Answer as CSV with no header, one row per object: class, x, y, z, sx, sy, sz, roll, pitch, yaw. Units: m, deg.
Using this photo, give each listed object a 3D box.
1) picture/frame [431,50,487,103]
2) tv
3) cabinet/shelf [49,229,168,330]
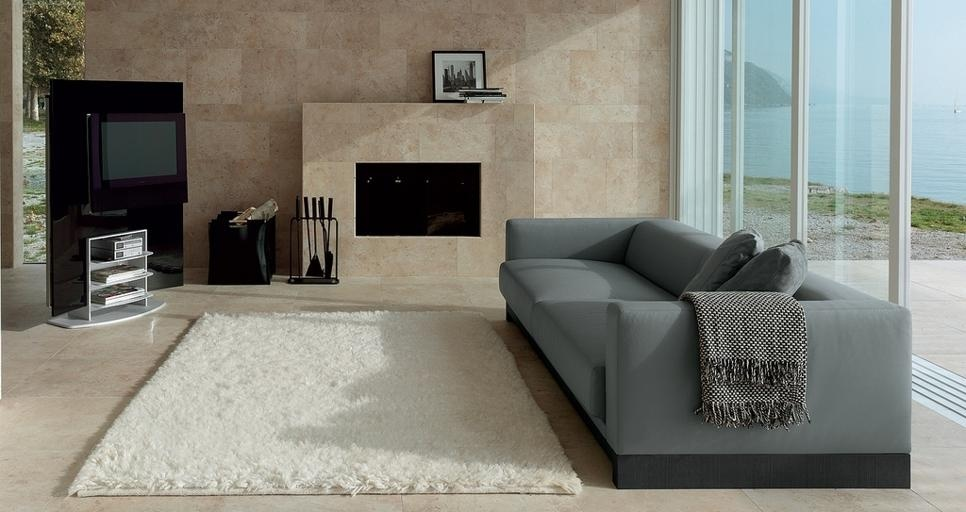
picture/frame,-0.337,-2.348,9.262,0.900,0.691,0.080,0,-6,-5
tv,-3.695,-1.085,8.007,1.370,0.975,0.605,1,4,17
cabinet/shelf,-3.939,0.256,7.305,0.544,0.669,1.041,5,8,17
